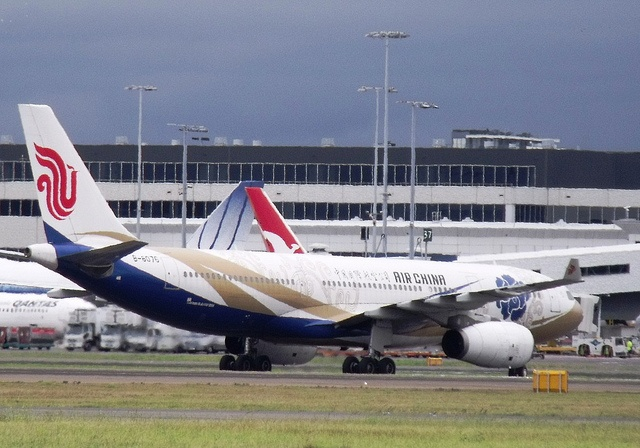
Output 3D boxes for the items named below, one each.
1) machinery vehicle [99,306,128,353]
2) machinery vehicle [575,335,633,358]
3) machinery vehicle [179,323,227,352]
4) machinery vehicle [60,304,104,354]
[{"bbox_3d":[-11.957,5.939,95.483,1.812,1.913,3.869,5,10,-3],"label":"machinery vehicle"},{"bbox_3d":[17.394,7.700,102.668,3.038,1.172,1.217,-1,-2,20],"label":"machinery vehicle"},{"bbox_3d":[-6.389,6.400,90.814,1.849,0.671,1.875,2,35,-2],"label":"machinery vehicle"},{"bbox_3d":[-13.407,6.174,97.106,2.033,2.114,3.704,1,4,28],"label":"machinery vehicle"}]
